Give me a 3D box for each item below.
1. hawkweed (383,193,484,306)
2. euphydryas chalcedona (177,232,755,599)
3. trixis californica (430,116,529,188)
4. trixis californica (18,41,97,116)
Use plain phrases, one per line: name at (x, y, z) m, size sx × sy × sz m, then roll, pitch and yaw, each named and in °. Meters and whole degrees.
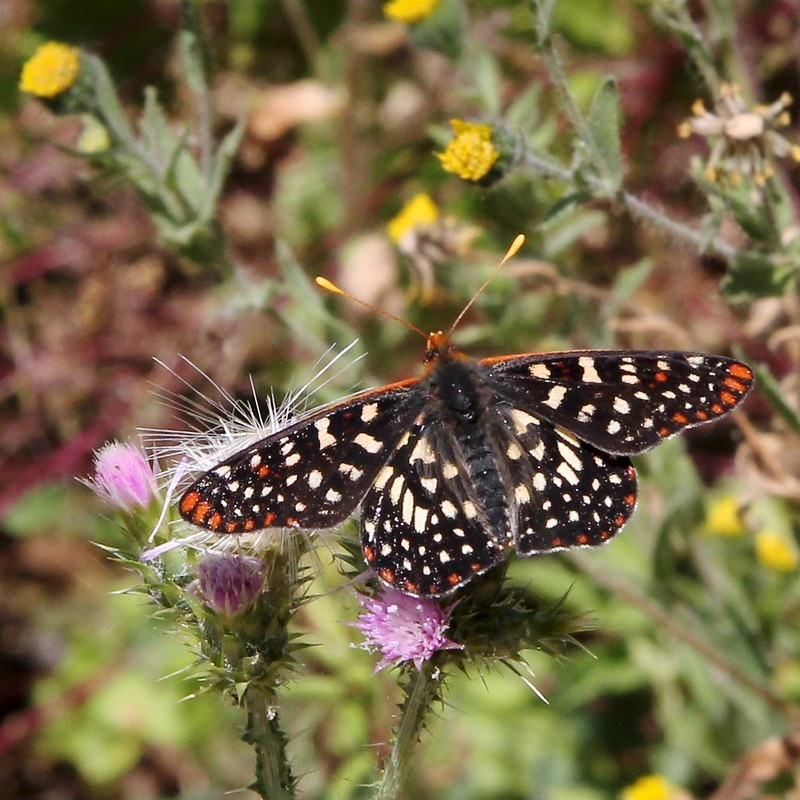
hawkweed at (0.139, -0.528, 3.880) m, size 0.189 × 0.280 × 0.401 m, roll -55°, pitch 138°, yaw -52°
euphydryas chalcedona at (0.216, 0.144, 2.674) m, size 1.150 × 0.395 × 0.694 m, roll -39°, pitch 83°, yaw -5°
trixis californica at (0.217, -0.679, 2.968) m, size 0.253 × 0.071 × 0.164 m, roll 20°, pitch 95°, yaw -1°
trixis californica at (-0.988, -0.883, 2.997) m, size 0.220 × 0.060 × 0.202 m, roll 46°, pitch 72°, yaw -17°
